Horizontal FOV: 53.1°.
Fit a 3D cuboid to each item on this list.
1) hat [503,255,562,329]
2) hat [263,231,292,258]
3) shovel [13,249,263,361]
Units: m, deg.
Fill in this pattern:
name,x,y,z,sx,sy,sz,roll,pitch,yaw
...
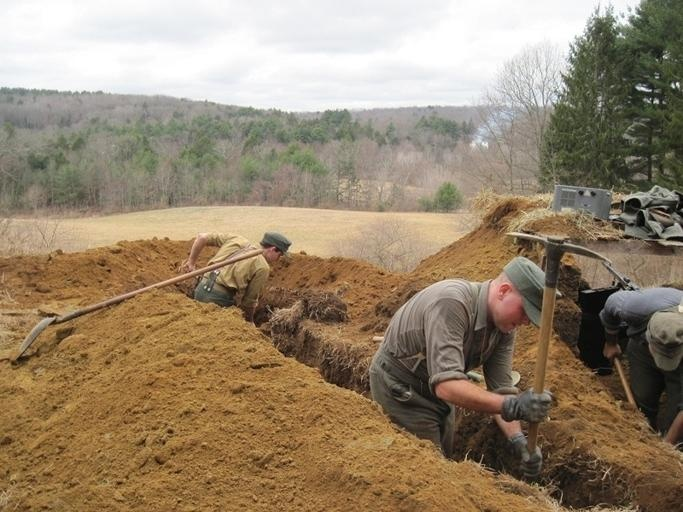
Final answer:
name,x,y,z,sx,sy,sz,roll,pitch,yaw
hat,1.884,0.352,7.033,0.439,0.647,0.347,6,11,41
hat,-0.993,-0.220,10.438,0.377,0.234,0.322,22,11,-16
shovel,-3.296,0.765,9.678,0.151,0.503,3.477,29,14,9
